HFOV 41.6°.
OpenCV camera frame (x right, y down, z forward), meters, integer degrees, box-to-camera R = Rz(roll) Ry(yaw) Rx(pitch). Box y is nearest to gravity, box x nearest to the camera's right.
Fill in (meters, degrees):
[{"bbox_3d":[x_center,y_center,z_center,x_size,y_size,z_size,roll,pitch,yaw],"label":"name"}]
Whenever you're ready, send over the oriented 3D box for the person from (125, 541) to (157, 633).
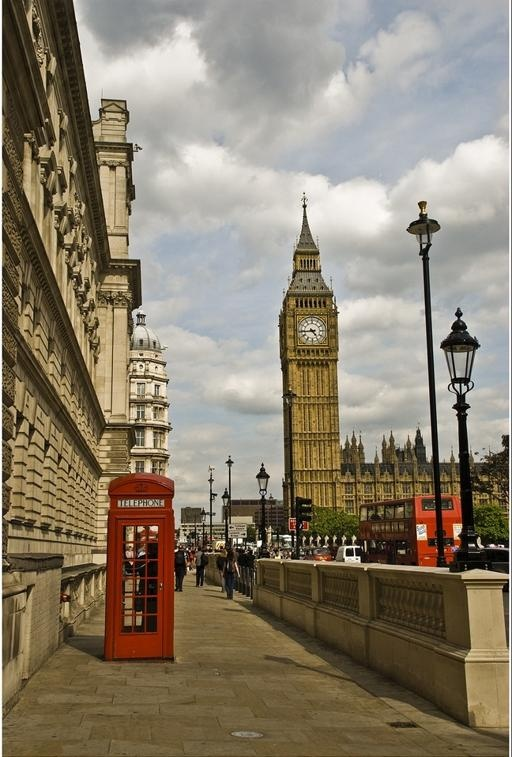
[{"bbox_3d":[-1.796,3.271,10.663,0.508,1.386,0.210,2,-12,-12],"label":"person"}]
